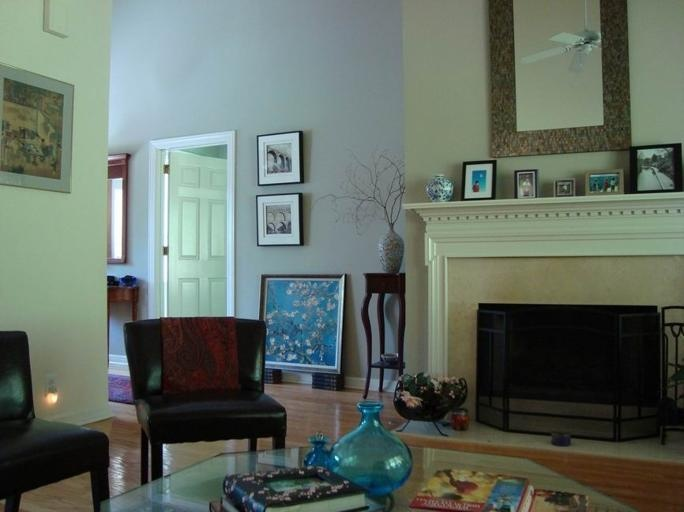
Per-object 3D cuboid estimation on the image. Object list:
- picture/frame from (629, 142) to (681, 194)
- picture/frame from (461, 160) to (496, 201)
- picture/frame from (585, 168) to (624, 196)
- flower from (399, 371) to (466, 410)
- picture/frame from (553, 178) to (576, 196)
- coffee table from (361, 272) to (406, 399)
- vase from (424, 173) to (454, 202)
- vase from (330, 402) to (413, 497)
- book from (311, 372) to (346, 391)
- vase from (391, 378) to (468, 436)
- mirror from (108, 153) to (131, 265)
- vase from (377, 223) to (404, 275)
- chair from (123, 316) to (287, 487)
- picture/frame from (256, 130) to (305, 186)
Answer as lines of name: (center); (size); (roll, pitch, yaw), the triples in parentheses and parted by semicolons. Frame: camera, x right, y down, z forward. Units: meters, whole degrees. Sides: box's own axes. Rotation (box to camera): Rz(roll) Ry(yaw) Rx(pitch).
picture/frame: (2.123, -0.580, 3.801); (0.339, 0.411, 0.032); (0, -7, 16)
picture/frame: (1.011, -0.545, 4.133); (0.292, 0.382, 0.027); (-1, -10, 14)
picture/frame: (1.817, -0.505, 3.889); (0.191, 0.159, 0.016); (2, -5, 20)
flower: (0.593, 0.899, 3.754); (0.321, 0.159, 0.275); (1, -8, 10)
picture/frame: (1.573, -0.480, 3.975); (0.123, 0.135, 0.018); (2, -7, 13)
coffee table: (0.383, 0.722, 5.259); (0.390, 1.143, 0.569); (-1, 2, 1)
vase: (0.719, -0.492, 4.143); (0.190, 0.239, 0.199); (0, -5, 3)
vase: (0.088, 0.687, 2.106); (0.320, 0.328, 0.339); (0, 0, -9)
book: (-0.146, 1.225, 5.482); (0.247, 0.134, 0.158); (-2, -4, 26)
vase: (0.585, 0.980, 3.838); (0.403, 0.327, 0.419); (3, -10, -13)
mirror: (-2.641, -0.553, 6.673); (0.336, 1.282, 0.119); (-1, 2, 29)
vase: (0.452, -0.060, 5.147); (0.178, 0.416, 0.160); (-2, 2, -25)
chair: (-0.717, 0.827, 3.441); (0.896, 1.155, 0.951); (2, -12, -19)
picture/frame: (-0.611, -1.008, 5.838); (0.551, 0.576, 0.059); (0, 1, 28)
